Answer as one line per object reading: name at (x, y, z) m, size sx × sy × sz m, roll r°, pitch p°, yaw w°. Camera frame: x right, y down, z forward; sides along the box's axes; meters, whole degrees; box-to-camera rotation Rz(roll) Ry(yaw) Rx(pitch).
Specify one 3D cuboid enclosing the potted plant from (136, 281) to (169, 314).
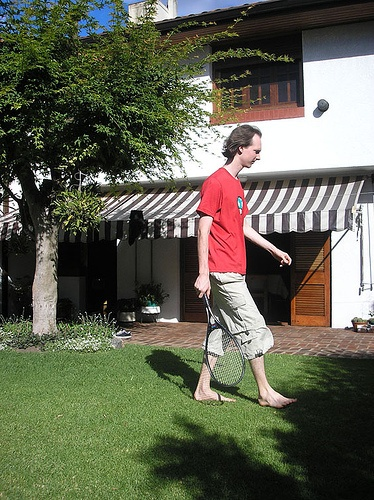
potted plant at (-1.043, 1.413, 13.307) m, size 0.803 × 0.795 × 0.810 m, roll 1°, pitch -7°, yaw -2°

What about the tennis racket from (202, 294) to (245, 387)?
tennis racket at (0.260, 0.786, 4.049) m, size 0.073 × 1.005 × 0.289 m, roll 14°, pitch -43°, yaw -34°

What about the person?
person at (0.436, 0.079, 4.041) m, size 0.926 × 2.511 × 0.643 m, roll 0°, pitch -3°, yaw -18°
